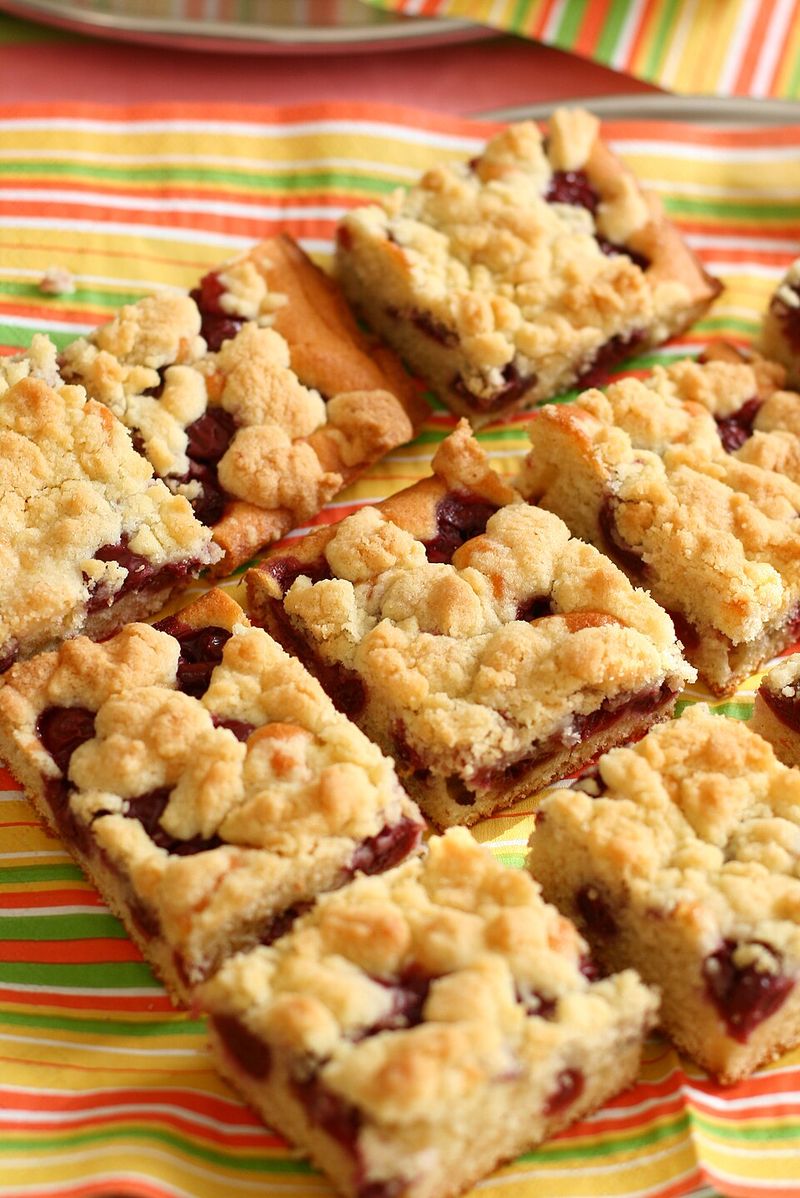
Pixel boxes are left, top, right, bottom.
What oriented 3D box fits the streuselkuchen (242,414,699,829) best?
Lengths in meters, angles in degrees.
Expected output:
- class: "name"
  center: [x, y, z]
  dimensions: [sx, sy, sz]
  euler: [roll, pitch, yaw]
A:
- class: "streuselkuchen"
  center: [0.097, 0.033, 2.321]
  dimensions: [0.697, 0.272, 0.783]
  euler: [-26, 55, -25]
